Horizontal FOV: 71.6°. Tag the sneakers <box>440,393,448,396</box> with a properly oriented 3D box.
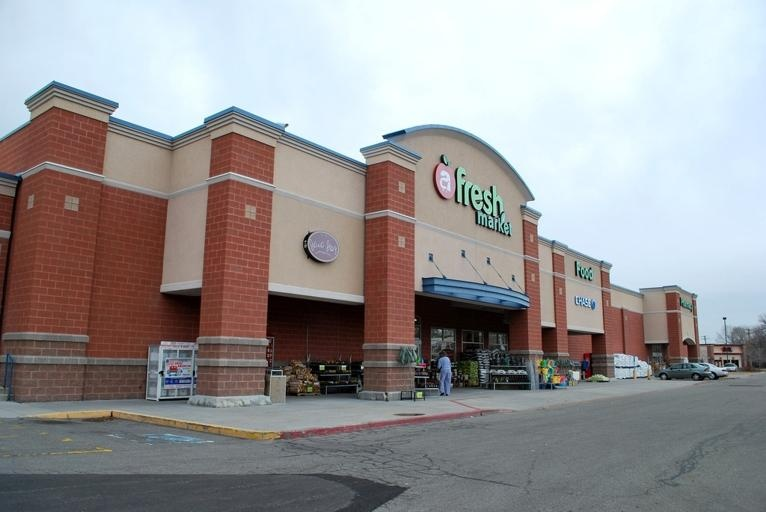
[{"bbox_3d":[3.171,7.094,27.330,0.144,0.191,0.477,-4,-11,-9],"label":"sneakers"}]

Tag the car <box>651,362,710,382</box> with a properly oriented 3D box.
[{"bbox_3d":[27.443,10.526,48.323,3.788,1.415,1.747,-3,-11,32],"label":"car"}]

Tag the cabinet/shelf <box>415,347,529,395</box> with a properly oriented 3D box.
[{"bbox_3d":[6.327,7.170,33.431,4.379,1.554,4.324,4,-7,-40],"label":"cabinet/shelf"}]

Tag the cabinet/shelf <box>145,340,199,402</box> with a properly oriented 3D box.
[{"bbox_3d":[-8.656,4.725,21.590,0.779,2.489,2.214,-7,-12,42],"label":"cabinet/shelf"}]
